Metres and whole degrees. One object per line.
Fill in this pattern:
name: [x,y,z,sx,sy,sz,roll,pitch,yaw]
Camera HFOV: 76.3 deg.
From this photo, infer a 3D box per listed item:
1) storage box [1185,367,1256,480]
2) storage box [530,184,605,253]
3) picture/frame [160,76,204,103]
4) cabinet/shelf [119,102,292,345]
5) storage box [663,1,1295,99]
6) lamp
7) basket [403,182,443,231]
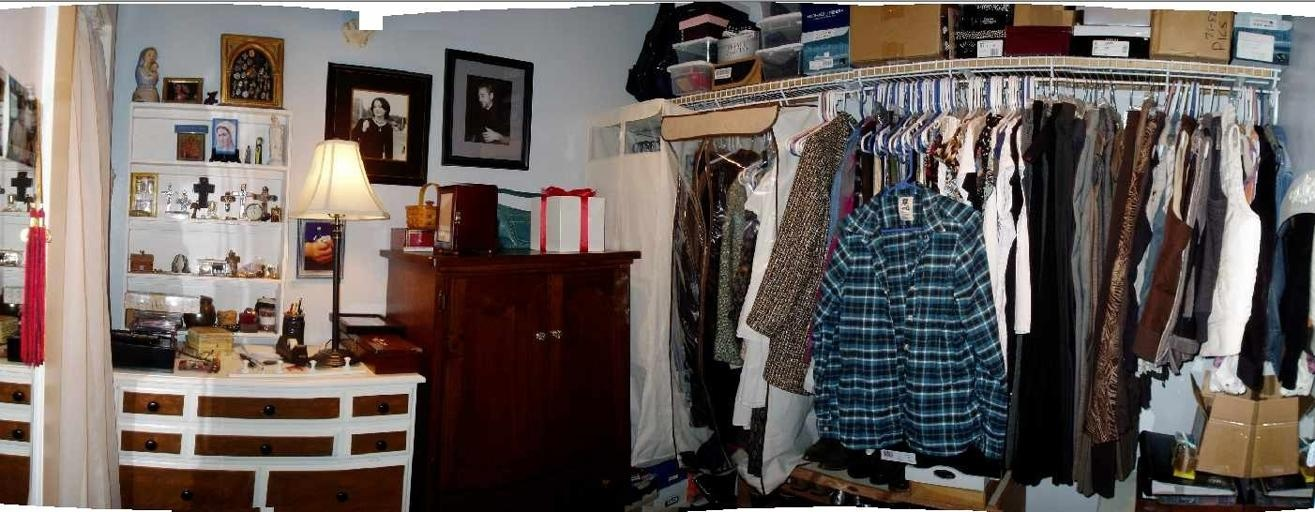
storage box: [4.125,1.218,6.073,0.372,0.767,0.195,0,-4,24]
storage box: [-0.751,-0.277,6.744,0.672,0.472,0.655,-3,4,-44]
picture/frame: [-3.719,-1.293,6.523,0.363,0.204,0.020,0,3,-12]
cabinet/shelf: [-3.504,-0.320,6.527,1.156,1.710,0.422,2,-4,-15]
storage box: [2.403,-1.365,6.326,4.146,0.201,0.351,0,-2,10]
lamp: [-2.442,-0.028,6.394,0.643,1.674,0.616,2,-4,-18]
basket: [-1.838,-0.391,6.546,0.223,0.354,0.283,2,-3,-18]
